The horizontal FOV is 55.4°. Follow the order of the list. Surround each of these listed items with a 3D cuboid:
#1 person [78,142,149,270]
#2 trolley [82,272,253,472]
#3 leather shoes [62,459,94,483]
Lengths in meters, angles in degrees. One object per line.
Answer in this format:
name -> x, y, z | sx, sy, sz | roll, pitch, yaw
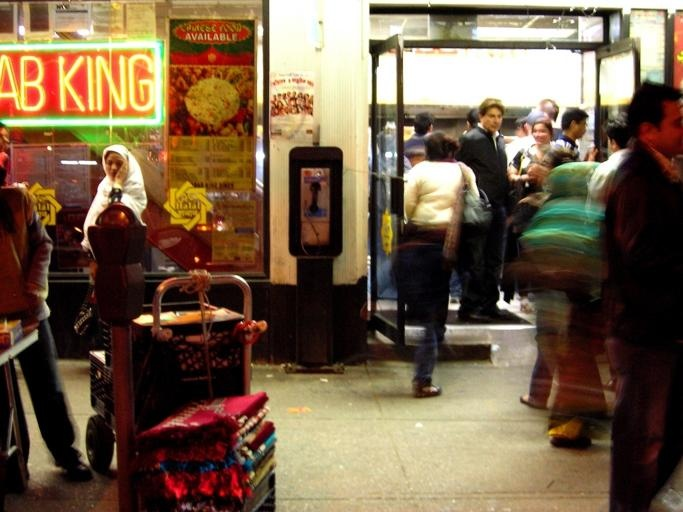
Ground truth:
person -> -2.085, -0.454, 6.137 | 0.531, 1.077, 0.576 | -11, -14, 19
trolley -> -0.977, 0.681, 3.773 | 0.765, 1.140, 1.069 | 1, 0, -36
leather shoes -> -1.686, 1.382, 4.152 | 0.161, 0.121, 0.055 | 3, 6, -2
